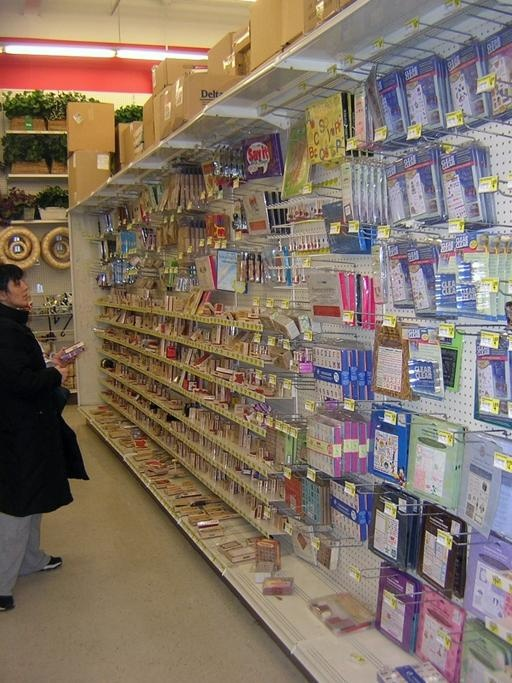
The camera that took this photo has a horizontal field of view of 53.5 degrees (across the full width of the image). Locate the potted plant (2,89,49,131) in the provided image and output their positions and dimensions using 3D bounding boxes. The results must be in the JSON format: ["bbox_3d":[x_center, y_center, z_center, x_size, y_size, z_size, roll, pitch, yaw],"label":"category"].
[{"bbox_3d":[-3.705,-3.627,8.238,0.785,0.719,0.610,0,18,-15],"label":"potted plant"}]

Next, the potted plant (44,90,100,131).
[{"bbox_3d":[-3.109,-3.702,8.179,0.952,0.436,0.958,-6,17,-18],"label":"potted plant"}]

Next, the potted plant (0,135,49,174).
[{"bbox_3d":[-3.710,-2.975,8.195,0.705,0.497,0.561,-2,14,-30],"label":"potted plant"}]

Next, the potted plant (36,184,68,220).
[{"bbox_3d":[-3.354,-2.305,8.552,0.506,0.577,0.592,2,19,3],"label":"potted plant"}]

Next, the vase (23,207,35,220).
[{"bbox_3d":[-3.662,-2.036,8.223,0.169,0.247,0.174,7,-6,-20],"label":"vase"}]

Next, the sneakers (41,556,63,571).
[{"bbox_3d":[-1.349,1.468,3.366,0.056,0.071,0.153,9,15,41],"label":"sneakers"}]
